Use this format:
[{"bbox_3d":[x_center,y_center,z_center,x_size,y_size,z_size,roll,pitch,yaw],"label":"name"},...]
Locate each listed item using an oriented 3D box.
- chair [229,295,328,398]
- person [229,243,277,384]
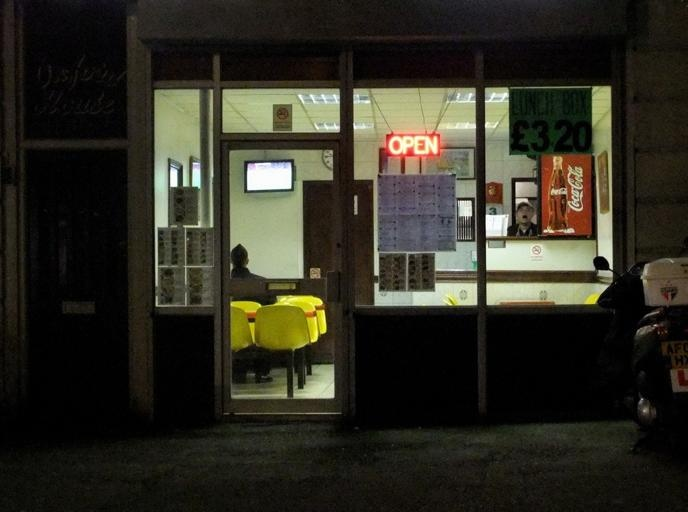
[{"bbox_3d":[-0.640,0.933,8.307,0.888,1.196,1.016,0,-2,8],"label":"chair"},{"bbox_3d":[-0.931,0.598,7.889,0.447,1.381,0.296,2,-8,-7],"label":"person"}]
